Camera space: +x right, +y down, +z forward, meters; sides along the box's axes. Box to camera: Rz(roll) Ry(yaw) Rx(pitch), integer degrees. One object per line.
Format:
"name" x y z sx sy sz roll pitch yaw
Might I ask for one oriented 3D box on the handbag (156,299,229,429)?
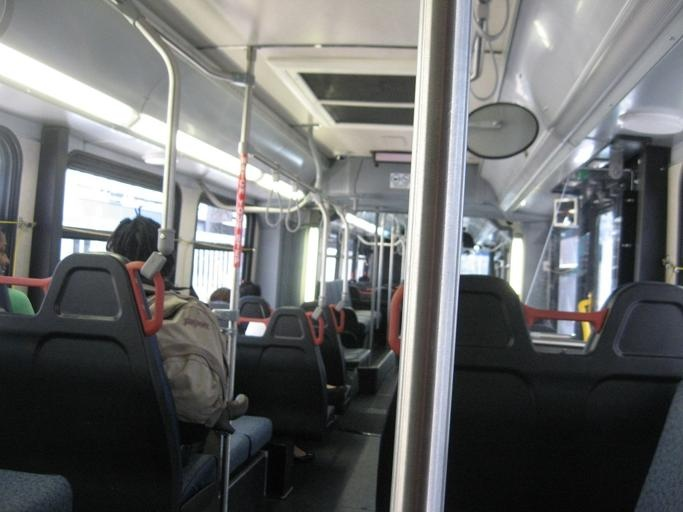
"handbag" -0.676 0.488 2.250 0.304 0.580 0.577 -8 3 -16
